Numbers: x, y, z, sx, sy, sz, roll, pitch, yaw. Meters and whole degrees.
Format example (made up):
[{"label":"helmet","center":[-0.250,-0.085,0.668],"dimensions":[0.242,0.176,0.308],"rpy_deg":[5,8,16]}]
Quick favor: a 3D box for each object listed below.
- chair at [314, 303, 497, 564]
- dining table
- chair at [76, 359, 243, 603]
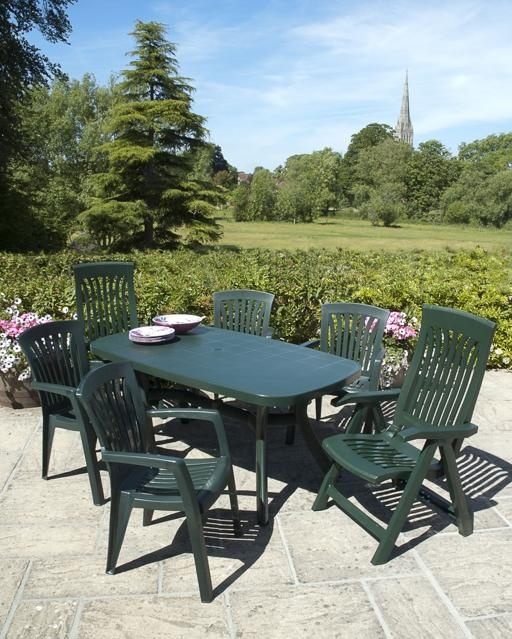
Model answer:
[{"label":"chair","center":[0.826,0.602,3.049],"dimensions":[0.960,1.157,0.800],"rpy_deg":[-3,13,-3]},{"label":"dining table","center":[-0.248,0.888,3.394],"dimensions":[1.922,0.779,0.952],"rpy_deg":[-20,-21,25]},{"label":"chair","center":[-0.418,0.769,2.679],"dimensions":[0.938,0.875,0.860],"rpy_deg":[-1,12,-26]}]
